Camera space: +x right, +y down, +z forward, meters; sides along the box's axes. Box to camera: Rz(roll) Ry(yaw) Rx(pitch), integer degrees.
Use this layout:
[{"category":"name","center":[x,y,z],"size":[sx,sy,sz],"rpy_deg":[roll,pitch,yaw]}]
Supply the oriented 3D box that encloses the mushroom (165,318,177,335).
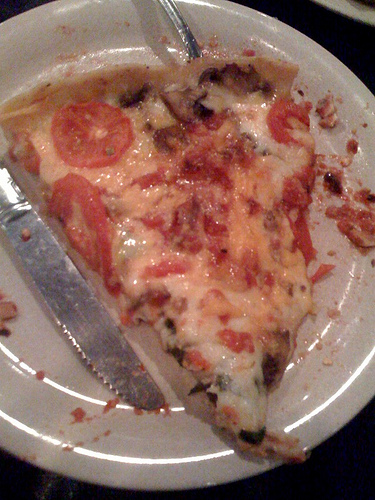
[{"category":"mushroom","center":[-0.035,0.146,1.099],"size":[0.020,0.008,0.029],"rpy_deg":[-13,80,-41]}]

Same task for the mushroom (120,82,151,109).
[{"category":"mushroom","center":[-0.107,-0.321,1.183],"size":[0.068,0.016,0.035],"rpy_deg":[-35,90,0]}]

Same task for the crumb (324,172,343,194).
[{"category":"crumb","center":[0.327,-0.151,1.273],"size":[0.033,0.011,0.047],"rpy_deg":[-21,86,4]}]

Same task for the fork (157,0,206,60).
[{"category":"fork","center":[-0.010,-0.490,1.249],"size":[0.028,0.024,0.179],"rpy_deg":[-27,90,-7]}]

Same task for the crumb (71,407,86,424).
[{"category":"crumb","center":[-0.210,0.332,1.138],"size":[0.028,0.006,0.026],"rpy_deg":[0,61,-19]}]

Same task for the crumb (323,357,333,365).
[{"category":"crumb","center":[0.295,0.234,1.201],"size":[0.014,0.003,0.012],"rpy_deg":[6,52,7]}]

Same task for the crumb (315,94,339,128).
[{"category":"crumb","center":[0.315,-0.315,1.282],"size":[0.061,0.019,0.067],"rpy_deg":[-8,90,7]}]

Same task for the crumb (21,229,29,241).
[{"category":"crumb","center":[-0.326,-0.032,1.147],"size":[0.020,0.011,0.016],"rpy_deg":[-9,79,-10]}]

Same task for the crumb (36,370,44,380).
[{"category":"crumb","center":[-0.299,0.253,1.151],"size":[0.019,0.005,0.015],"rpy_deg":[-3,70,-9]}]

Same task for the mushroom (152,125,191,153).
[{"category":"mushroom","center":[-0.034,-0.226,1.156],"size":[0.078,0.016,0.048],"rpy_deg":[2,84,-10]}]
